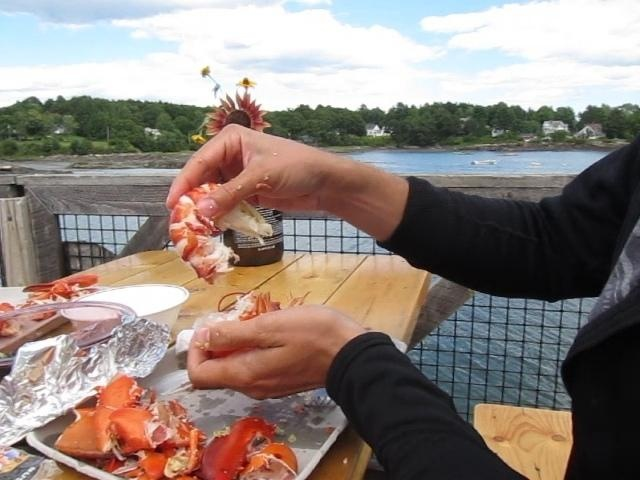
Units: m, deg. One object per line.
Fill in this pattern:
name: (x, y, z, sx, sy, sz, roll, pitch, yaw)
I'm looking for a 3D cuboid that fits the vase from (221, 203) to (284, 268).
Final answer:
vase: (-0.331, 0.000, 2.109, 0.329, 0.228, 0.282, -3, 10, -16)
